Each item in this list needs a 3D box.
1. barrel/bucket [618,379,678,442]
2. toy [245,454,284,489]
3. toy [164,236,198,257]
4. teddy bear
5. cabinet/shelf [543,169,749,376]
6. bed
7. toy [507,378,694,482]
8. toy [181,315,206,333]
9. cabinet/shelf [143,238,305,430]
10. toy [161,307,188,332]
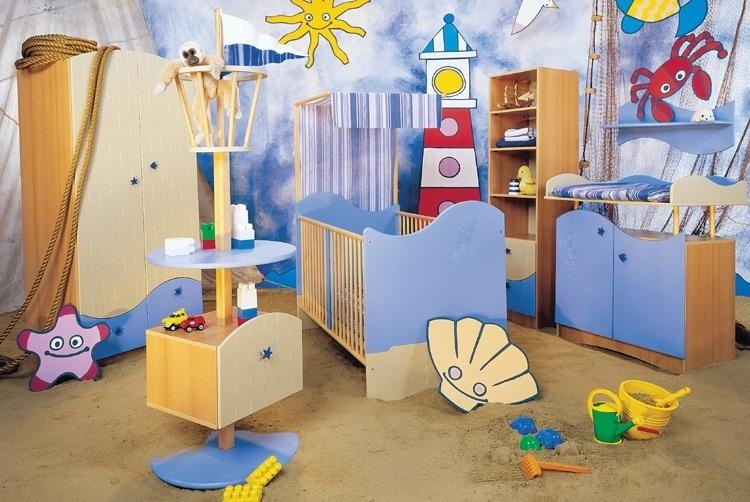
[{"bbox_3d":[1.755,1.017,3.889,0.356,0.286,0.379,9,12,-2],"label":"barrel/bucket"},{"bbox_3d":[-0.675,1.356,3.591,0.109,0.093,0.255,13,23,36],"label":"toy"},{"bbox_3d":[-1.210,-0.018,3.603,0.171,0.111,0.124,-1,-2,-34],"label":"toy"},{"bbox_3d":[-1.082,-0.963,3.592,0.482,0.579,0.374,-2,19,-5],"label":"teddy bear"},{"bbox_3d":[2.303,0.114,4.975,0.636,1.579,1.452,-16,24,-39],"label":"cabinet/shelf"},{"bbox_3d":[0.174,0.234,5.250,1.223,1.422,1.912,-6,10,-19],"label":"bed"},{"bbox_3d":[1.451,1.062,3.802,1.193,0.415,0.496,-6,19,-18],"label":"toy"},{"bbox_3d":[-1.132,0.455,3.631,0.128,0.086,0.090,3,-4,-39],"label":"toy"},{"bbox_3d":[-0.978,0.522,3.892,1.089,1.157,1.038,-1,7,-30],"label":"cabinet/shelf"},{"bbox_3d":[-1.243,0.437,3.740,0.121,0.136,0.202,2,2,37],"label":"toy"}]
